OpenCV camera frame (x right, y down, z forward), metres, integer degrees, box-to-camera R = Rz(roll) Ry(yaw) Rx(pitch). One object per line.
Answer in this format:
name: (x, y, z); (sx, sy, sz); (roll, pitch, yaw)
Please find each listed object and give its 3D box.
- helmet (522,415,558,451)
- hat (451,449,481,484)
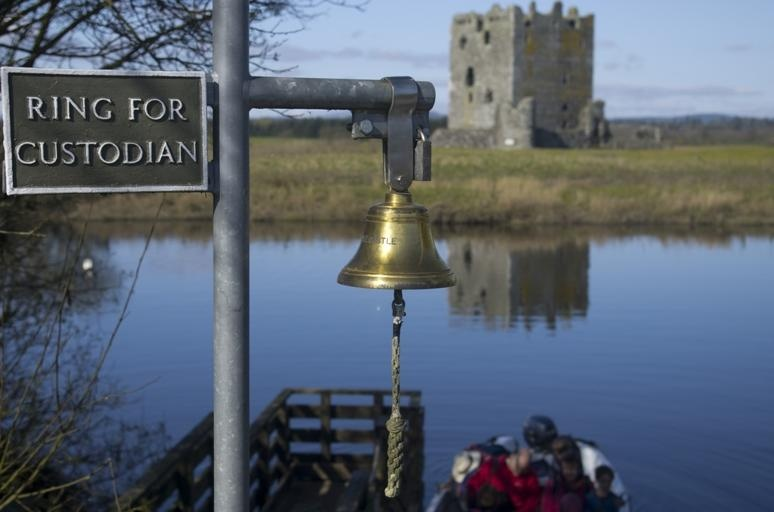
helmet: (2.511, 2.917, 18.349); (0.526, 0.567, 0.465); (7, -6, -9)
hat: (1.227, 3.269, 17.377); (0.114, 0.484, 0.448); (28, -22, -35)
